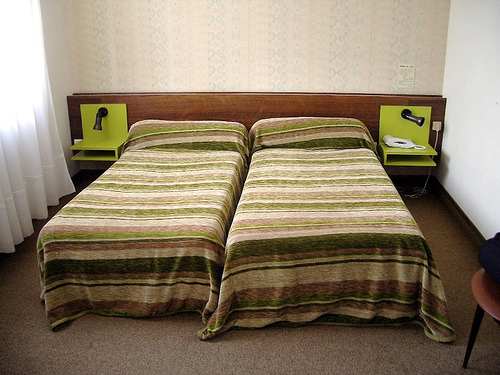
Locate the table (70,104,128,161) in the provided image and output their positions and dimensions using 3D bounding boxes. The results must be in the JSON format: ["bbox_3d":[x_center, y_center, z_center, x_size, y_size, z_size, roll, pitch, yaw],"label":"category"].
[{"bbox_3d":[-1.663,-0.623,4.016,0.661,0.552,0.430,-1,19,-1],"label":"table"}]

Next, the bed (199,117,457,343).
[{"bbox_3d":[0.588,0.041,3.125,1.590,0.737,2.294,-2,27,7],"label":"bed"}]

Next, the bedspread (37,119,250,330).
[{"bbox_3d":[-0.705,0.029,3.163,1.414,0.818,2.116,0,26,0],"label":"bedspread"}]

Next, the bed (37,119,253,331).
[{"bbox_3d":[-0.738,0.047,3.167,1.442,0.831,2.183,1,25,-1],"label":"bed"}]

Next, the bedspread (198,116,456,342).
[{"bbox_3d":[0.542,0.053,3.040,1.654,0.719,2.245,-2,29,5],"label":"bedspread"}]

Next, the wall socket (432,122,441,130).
[{"bbox_3d":[1.948,-0.640,3.811,0.081,0.073,0.075,0,13,17],"label":"wall socket"}]

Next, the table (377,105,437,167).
[{"bbox_3d":[1.655,-0.503,3.817,0.549,0.623,0.345,0,28,4],"label":"table"}]
